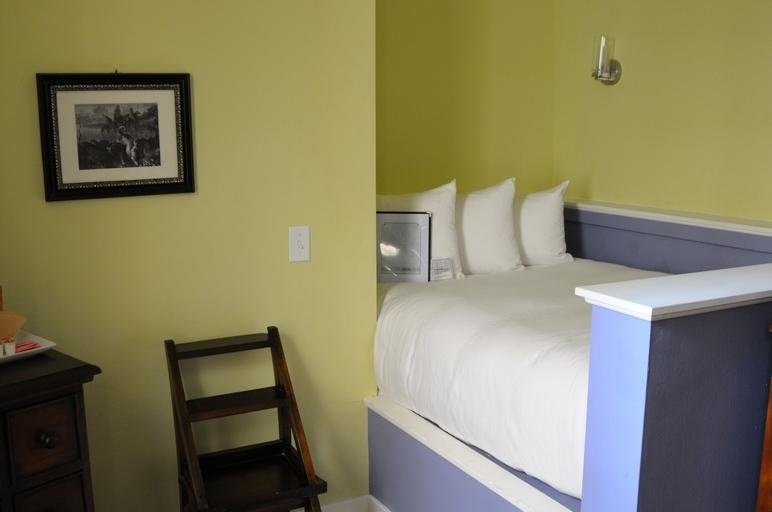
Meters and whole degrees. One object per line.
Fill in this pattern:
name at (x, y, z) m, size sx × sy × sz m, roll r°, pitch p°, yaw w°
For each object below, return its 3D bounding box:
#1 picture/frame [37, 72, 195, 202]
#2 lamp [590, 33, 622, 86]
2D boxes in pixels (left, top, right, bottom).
picture/frame at (-1.061, -0.468, 2.169) m, size 0.480 × 0.435 × 0.038 m, roll -5°, pitch 10°, yaw -25°
lamp at (1.301, -1.141, 3.323) m, size 0.149 × 0.223 × 0.382 m, roll -1°, pitch 7°, yaw 29°
